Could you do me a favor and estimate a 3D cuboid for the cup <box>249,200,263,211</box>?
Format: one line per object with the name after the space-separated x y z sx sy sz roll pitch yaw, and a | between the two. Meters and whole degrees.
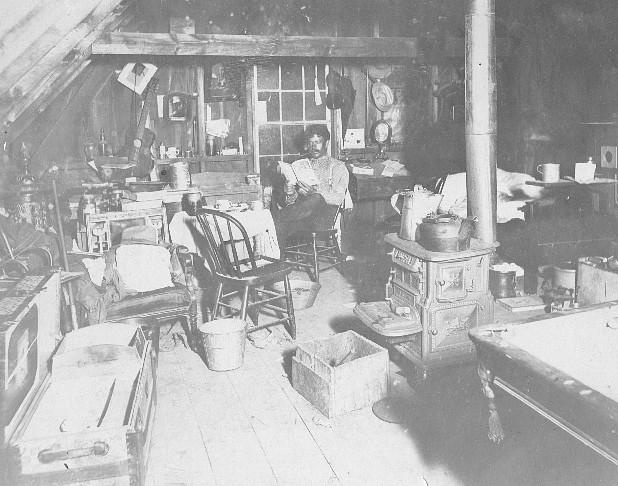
-0.501 -0.352 5.040 0.096 0.078 0.101 1 0 0 | cup

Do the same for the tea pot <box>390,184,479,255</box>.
0.838 -0.166 3.664 0.310 0.309 0.573 -8 12 -34 | tea pot

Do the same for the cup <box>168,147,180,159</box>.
-1.690 -1.120 6.599 0.143 0.128 0.172 -6 16 -15 | cup

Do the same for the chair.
-0.581 0.177 4.578 0.801 1.134 1.325 -5 15 -13 | chair

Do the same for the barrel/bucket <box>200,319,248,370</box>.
-0.625 0.753 3.958 0.344 0.298 0.345 -2 11 0 | barrel/bucket

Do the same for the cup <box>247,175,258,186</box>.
-0.658 -0.748 6.230 0.141 0.093 0.107 -4 15 -9 | cup

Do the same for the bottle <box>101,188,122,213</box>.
-1.976 -0.414 5.309 0.188 0.240 0.196 1 3 0 | bottle

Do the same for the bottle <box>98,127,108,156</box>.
-2.460 -1.201 6.325 0.104 0.297 0.102 -2 14 0 | bottle

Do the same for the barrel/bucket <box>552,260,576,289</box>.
2.251 0.278 4.679 0.194 0.156 0.194 0 7 0 | barrel/bucket

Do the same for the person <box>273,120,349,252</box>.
0.010 -0.654 6.114 0.725 1.328 1.018 5 16 25 | person

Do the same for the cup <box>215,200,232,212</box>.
-0.830 -0.375 5.286 0.176 0.136 0.137 3 -4 -26 | cup
